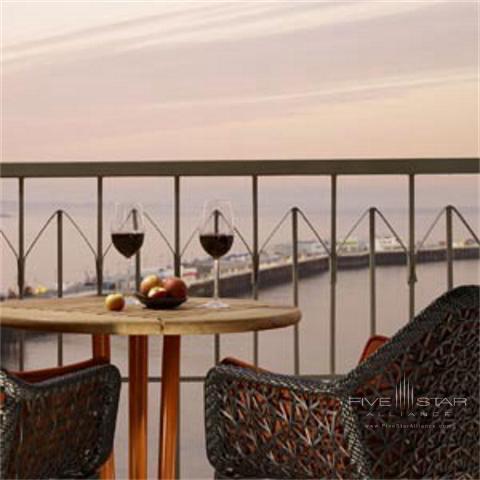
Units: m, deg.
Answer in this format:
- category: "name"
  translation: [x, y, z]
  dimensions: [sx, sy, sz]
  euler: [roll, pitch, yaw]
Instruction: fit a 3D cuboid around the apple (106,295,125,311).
- category: "apple"
  translation: [-0.386, 0.192, 3.041]
  dimensions: [0.042, 0.062, 0.048]
  euler: [-7, -3, 4]
